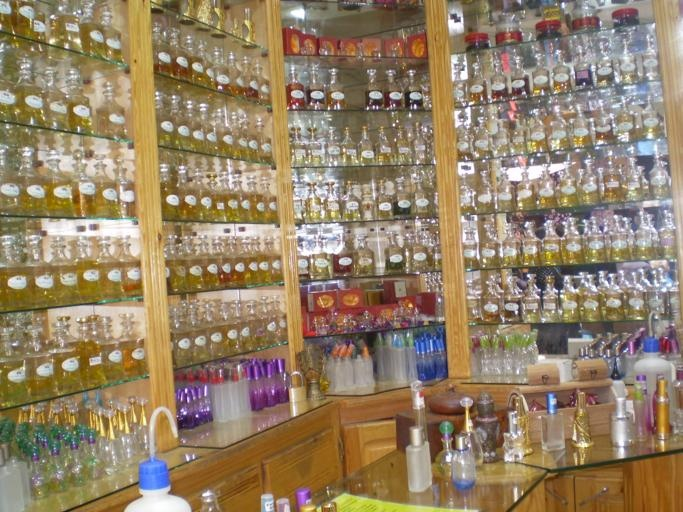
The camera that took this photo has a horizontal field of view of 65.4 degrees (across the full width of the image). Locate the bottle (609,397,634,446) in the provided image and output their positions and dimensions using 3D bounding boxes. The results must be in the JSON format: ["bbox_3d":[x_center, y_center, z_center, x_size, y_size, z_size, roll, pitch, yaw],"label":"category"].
[{"bbox_3d":[1.401,0.828,2.679,0.131,0.233,0.078,-5,0,-40],"label":"bottle"}]

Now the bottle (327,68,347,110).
[{"bbox_3d":[-0.056,-1.293,4.122,0.145,0.327,0.117,-5,0,-15],"label":"bottle"}]

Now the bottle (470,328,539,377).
[{"bbox_3d":[1.152,0.698,3.794,0.470,0.371,0.205,-6,0,20],"label":"bottle"}]

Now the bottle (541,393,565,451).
[{"bbox_3d":[1.049,0.818,2.666,0.100,0.278,0.170,-5,0,30],"label":"bottle"}]

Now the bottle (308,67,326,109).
[{"bbox_3d":[-0.202,-1.289,4.066,0.149,0.354,0.104,-5,0,-21],"label":"bottle"}]
